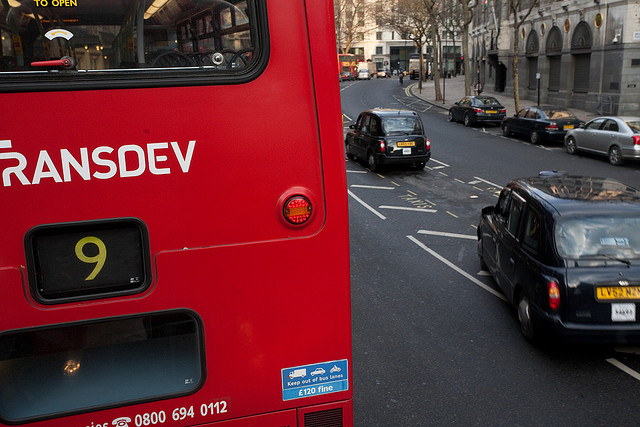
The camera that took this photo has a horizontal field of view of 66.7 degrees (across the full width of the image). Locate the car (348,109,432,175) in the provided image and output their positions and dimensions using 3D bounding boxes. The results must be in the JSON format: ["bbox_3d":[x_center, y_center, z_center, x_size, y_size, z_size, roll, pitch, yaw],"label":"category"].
[{"bbox_3d":[2.856,-3.193,21.304,2.042,2.569,3.602,-11,18,-35],"label":"car"}]

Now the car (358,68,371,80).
[{"bbox_3d":[8.525,-26.971,94.201,1.826,1.859,2.523,5,16,25],"label":"car"}]

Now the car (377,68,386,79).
[{"bbox_3d":[13.186,-30.092,104.885,1.652,1.441,2.559,-5,16,-15],"label":"car"}]

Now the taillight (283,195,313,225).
[{"bbox_3d":[-0.164,0.015,3.514,0.217,0.222,0.249,2,51,-7],"label":"taillight"}]

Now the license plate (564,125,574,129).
[{"bbox_3d":[13.392,-4.653,26.086,0.556,0.199,0.186,-6,15,-16],"label":"license plate"}]

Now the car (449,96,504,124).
[{"bbox_3d":[11.321,-7.445,35.210,1.988,1.849,3.713,-7,16,-23],"label":"car"}]

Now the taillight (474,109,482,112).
[{"bbox_3d":[11.060,-7.186,33.939,0.469,0.164,0.132,5,15,20],"label":"taillight"}]

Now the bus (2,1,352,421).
[{"bbox_3d":[-1.039,-0.071,3.242,2.569,2.558,1.061,-1,5,-6],"label":"bus"}]
